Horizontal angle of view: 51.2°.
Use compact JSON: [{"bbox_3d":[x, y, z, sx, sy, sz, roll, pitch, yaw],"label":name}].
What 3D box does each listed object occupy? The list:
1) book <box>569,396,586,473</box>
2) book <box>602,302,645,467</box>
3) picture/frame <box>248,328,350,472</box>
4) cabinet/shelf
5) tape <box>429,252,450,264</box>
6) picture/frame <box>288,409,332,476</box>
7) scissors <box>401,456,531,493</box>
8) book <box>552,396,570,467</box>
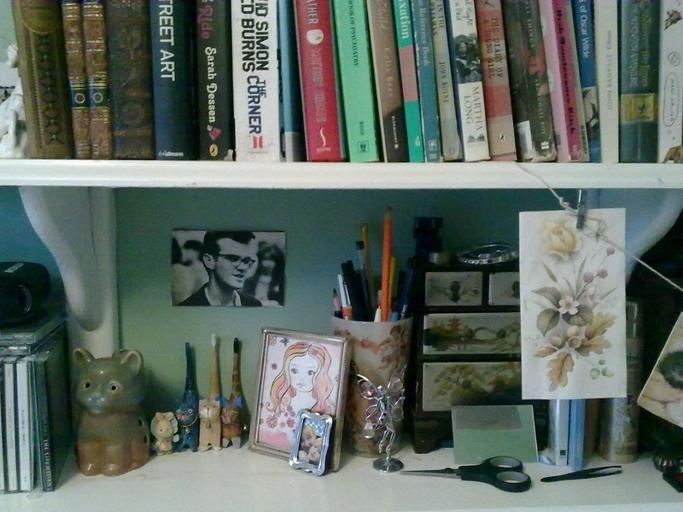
[{"bbox_3d":[0.375,0.286,1.140,0.027,0.114,0.023,-2,11,13],"label":"book"},{"bbox_3d":[0.453,0.204,1.148,0.072,0.262,0.038,-3,11,10],"label":"book"},{"bbox_3d":[-0.065,0.243,1.165,0.198,0.249,0.026,4,-13,19],"label":"picture/frame"},{"bbox_3d":[0.215,0.149,1.245,0.219,0.289,0.186,1,8,1],"label":"cabinet/shelf"},{"bbox_3d":[0.160,0.005,1.173,0.021,0.013,0.021,5,8,33],"label":"tape"},{"bbox_3d":[-0.048,0.301,1.139,0.086,0.122,0.012,6,-12,19],"label":"picture/frame"},{"bbox_3d":[0.211,0.343,1.129,0.130,0.015,0.075,-1,11,4],"label":"scissors"},{"bbox_3d":[0.356,0.286,1.154,0.028,0.109,0.018,-1,12,19],"label":"book"}]
